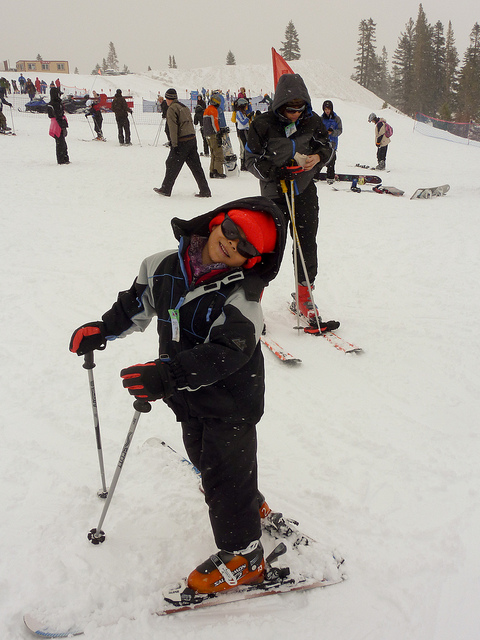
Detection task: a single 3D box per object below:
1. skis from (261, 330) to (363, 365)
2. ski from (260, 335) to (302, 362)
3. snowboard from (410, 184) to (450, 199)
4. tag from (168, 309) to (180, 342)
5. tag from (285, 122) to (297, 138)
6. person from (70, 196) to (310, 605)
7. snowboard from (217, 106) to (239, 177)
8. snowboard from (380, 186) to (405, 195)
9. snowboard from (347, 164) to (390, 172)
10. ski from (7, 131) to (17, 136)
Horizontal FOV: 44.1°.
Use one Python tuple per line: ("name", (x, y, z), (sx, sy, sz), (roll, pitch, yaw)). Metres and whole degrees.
("skis", (0.620, 0.221, 4.813), (0.930, 0.128, 0.280), (-9, 29, -28))
("ski", (0.321, 0.235, 4.637), (0.081, 0.048, 0.597), (0, 18, -24))
("snowboard", (3.468, -2.321, 10.722), (0.323, 0.197, 1.051), (14, 23, 39))
("tag", (-0.258, 0.022, 2.359), (0.036, 0.128, 0.066), (-6, 19, -11))
("tag", (0.384, -1.457, 4.513), (0.071, 0.099, 0.072), (0, 19, 6))
("person", (-0.160, 0.346, 2.530), (1.109, 1.526, 0.952), (0, 13, -5))
("snowboard", (-0.214, -3.346, 11.207), (0.402, 1.256, 0.260), (-14, 3, -2))
("snowboard", (2.841, -2.400, 10.958), (0.338, 0.124, 0.432), (-3, 17, -5))
("snowboard", (3.075, -3.728, 14.424), (0.291, 0.181, 1.126), (-7, 23, -21))
("ski", (-5.672, -4.662, 14.714), (0.243, 0.075, 0.166), (19, 9, 19))
